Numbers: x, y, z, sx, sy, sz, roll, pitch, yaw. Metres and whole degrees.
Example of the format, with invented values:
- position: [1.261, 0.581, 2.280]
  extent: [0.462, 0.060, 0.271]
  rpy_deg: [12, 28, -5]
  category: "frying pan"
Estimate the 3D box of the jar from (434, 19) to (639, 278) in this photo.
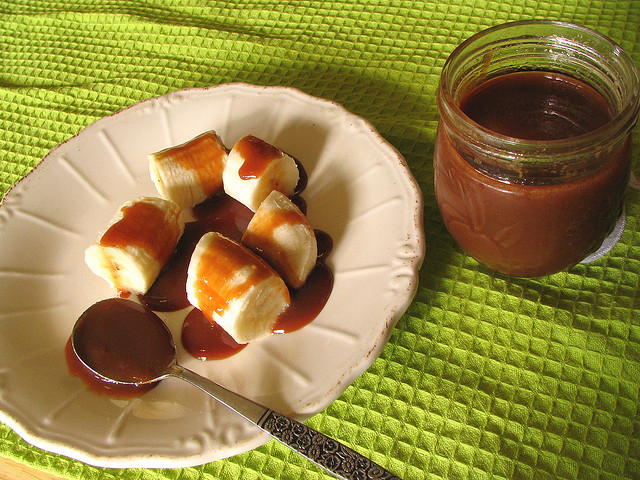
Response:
- position: [0.442, -0.195, 1.516]
  extent: [0.484, 0.523, 0.515]
  rpy_deg: [-3, 57, 5]
  category: "jar"

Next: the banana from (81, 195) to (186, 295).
- position: [-0.497, -0.010, 1.649]
  extent: [0.223, 0.146, 0.258]
  rpy_deg: [22, 75, 5]
  category: "banana"
